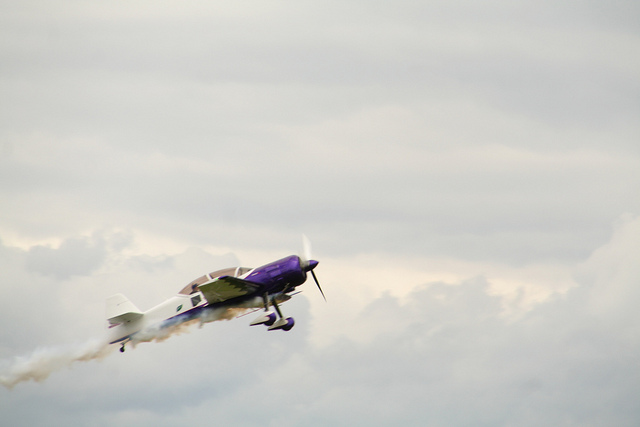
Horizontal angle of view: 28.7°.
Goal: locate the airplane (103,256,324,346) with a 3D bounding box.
[{"bbox_3d":[-3.344,2.926,42.523,4.994,1.423,4.949,-16,-13,11],"label":"airplane"}]
